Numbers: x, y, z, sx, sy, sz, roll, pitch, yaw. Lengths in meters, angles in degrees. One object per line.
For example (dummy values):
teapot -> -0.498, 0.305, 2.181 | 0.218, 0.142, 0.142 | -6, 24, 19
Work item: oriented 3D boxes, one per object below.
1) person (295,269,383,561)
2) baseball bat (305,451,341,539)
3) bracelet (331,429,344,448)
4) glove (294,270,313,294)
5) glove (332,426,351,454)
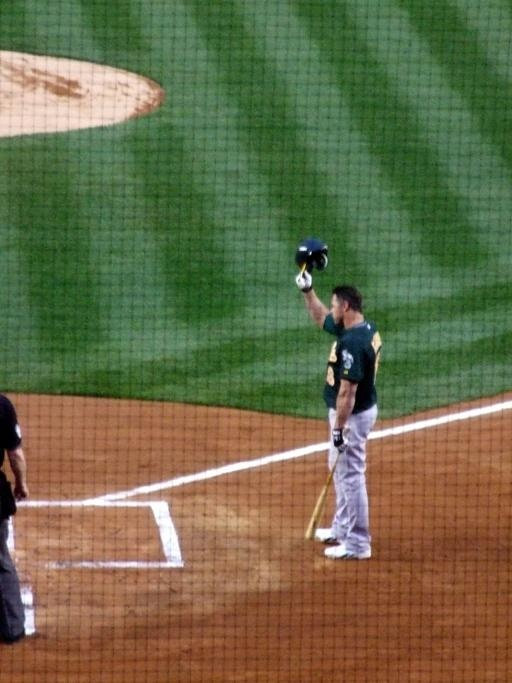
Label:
person -> 0.867, 0.665, 17.607 | 0.712, 2.853, 1.175 | -2, -20, -2
baseball bat -> 0.681, 1.656, 18.192 | 0.126, 0.887, 0.103 | 20, 1, 39
bracelet -> 0.789, 0.980, 17.305 | 0.120, 0.253, 0.148 | 2, -1, 3
glove -> 0.478, -0.583, 17.998 | 0.145, 0.252, 0.110 | 0, -8, 2
glove -> 0.830, 1.007, 17.285 | 0.145, 0.263, 0.167 | -4, -7, 0
